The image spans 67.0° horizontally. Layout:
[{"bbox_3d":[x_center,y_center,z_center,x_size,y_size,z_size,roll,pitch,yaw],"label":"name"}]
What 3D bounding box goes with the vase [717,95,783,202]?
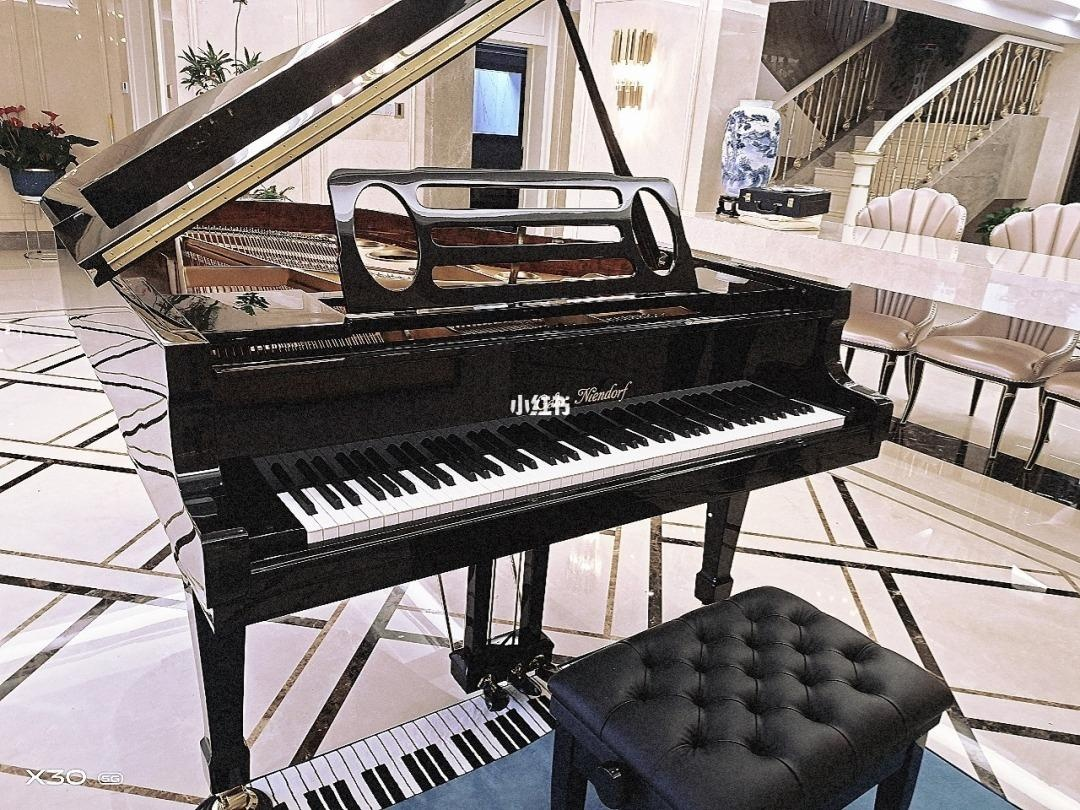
[{"bbox_3d":[1.331,-1.628,5.138,0.382,0.539,0.362,-5,21,-23],"label":"vase"}]
